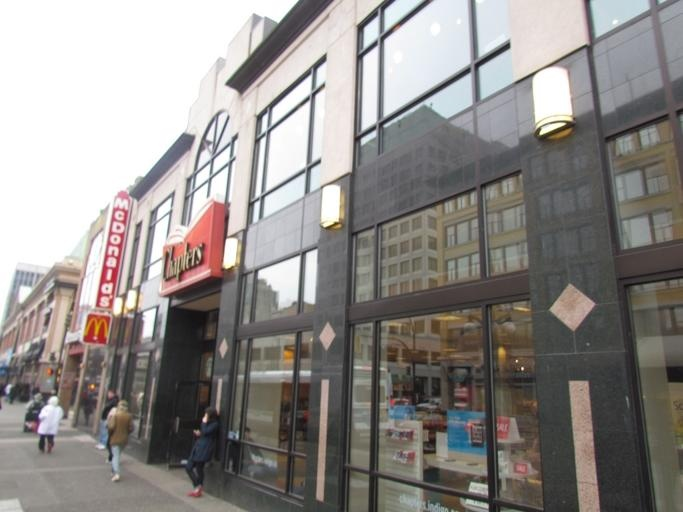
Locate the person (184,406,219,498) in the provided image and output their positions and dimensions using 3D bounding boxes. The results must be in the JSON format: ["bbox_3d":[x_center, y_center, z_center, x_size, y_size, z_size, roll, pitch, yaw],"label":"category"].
[{"bbox_3d":[-3.427,4.781,12.473,0.702,2.062,0.899,5,-18,-13],"label":"person"}]

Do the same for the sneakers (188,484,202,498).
[{"bbox_3d":[-3.473,5.613,12.115,0.187,0.240,0.588,-8,-26,5],"label":"sneakers"}]

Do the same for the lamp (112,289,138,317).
[{"bbox_3d":[-8.851,1.921,20.655,0.297,1.017,2.355,14,-23,-36],"label":"lamp"}]

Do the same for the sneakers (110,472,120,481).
[{"bbox_3d":[-5.753,5.612,12.812,0.121,0.153,0.340,6,-21,-19],"label":"sneakers"}]

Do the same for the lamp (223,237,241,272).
[{"bbox_3d":[-3.021,-0.080,13.878,0.229,0.909,0.696,14,-22,-36],"label":"lamp"}]

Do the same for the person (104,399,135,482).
[{"bbox_3d":[-5.883,4.822,13.289,0.633,1.963,0.957,8,-19,-22],"label":"person"}]

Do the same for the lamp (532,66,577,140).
[{"bbox_3d":[3.200,-2.427,7.570,0.621,1.071,0.646,-4,-40,20],"label":"lamp"}]
